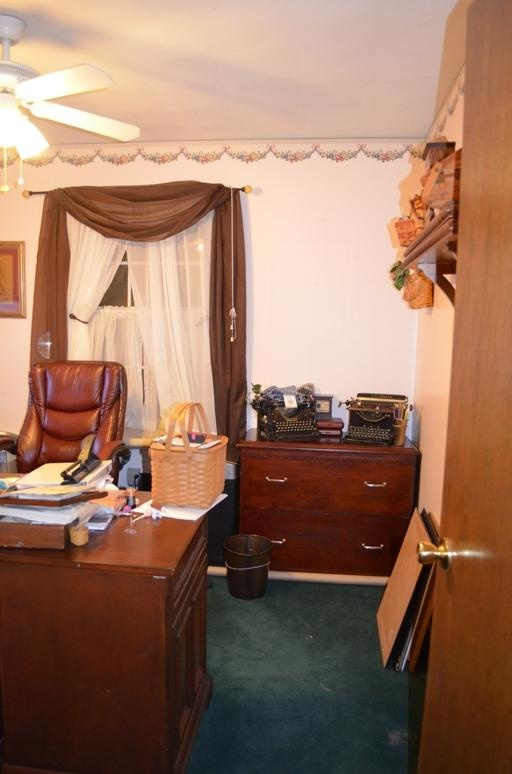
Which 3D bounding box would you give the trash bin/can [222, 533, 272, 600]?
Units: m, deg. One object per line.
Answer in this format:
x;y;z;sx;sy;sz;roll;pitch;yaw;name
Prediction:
-0.033;0.920;3.094;0.241;0.250;0.283;1;0;6;trash bin/can

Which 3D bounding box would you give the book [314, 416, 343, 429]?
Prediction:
0.435;0.208;3.572;0.155;0.052;0.205;2;7;4;book
